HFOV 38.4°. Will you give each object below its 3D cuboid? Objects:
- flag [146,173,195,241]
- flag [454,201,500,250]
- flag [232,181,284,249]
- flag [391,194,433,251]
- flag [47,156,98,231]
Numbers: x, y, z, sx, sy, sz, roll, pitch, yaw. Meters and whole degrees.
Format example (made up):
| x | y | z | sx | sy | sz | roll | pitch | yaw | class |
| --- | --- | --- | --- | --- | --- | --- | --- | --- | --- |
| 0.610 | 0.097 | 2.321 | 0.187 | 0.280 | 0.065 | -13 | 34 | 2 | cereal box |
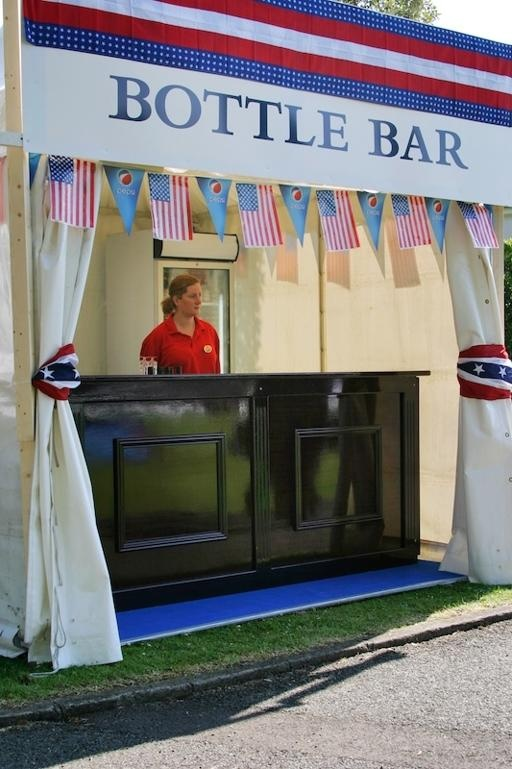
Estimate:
| x | y | z | sx | sy | sz | roll | pitch | yaw | class |
| --- | --- | --- | --- | --- | --- | --- | --- | --- | --- |
| -0.398 | -0.832 | 3.449 | 0.195 | 0.346 | 0.021 | 3 | -20 | -18 | flag |
| 1.359 | -0.981 | 4.546 | 0.020 | 0.274 | 0.252 | -19 | -5 | 43 | flag |
| 0.028 | -0.866 | 3.716 | 0.245 | 0.373 | 0.008 | 0 | -22 | -5 | flag |
| 0.931 | -0.971 | 4.341 | 0.260 | 0.319 | 0.022 | -20 | 13 | -34 | flag |
| -0.803 | -0.828 | 3.175 | 0.024 | 0.340 | 0.304 | -2 | -1 | 32 | flag |
